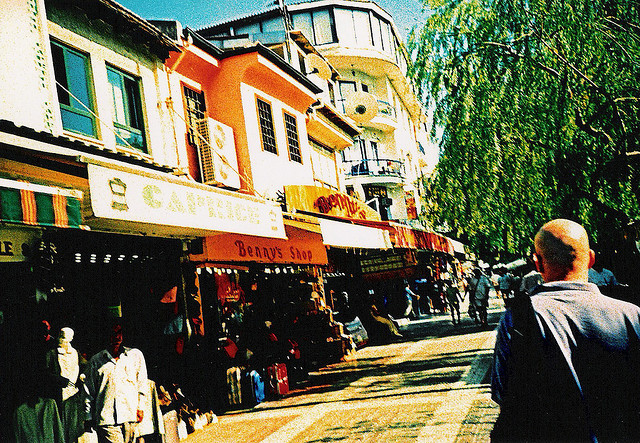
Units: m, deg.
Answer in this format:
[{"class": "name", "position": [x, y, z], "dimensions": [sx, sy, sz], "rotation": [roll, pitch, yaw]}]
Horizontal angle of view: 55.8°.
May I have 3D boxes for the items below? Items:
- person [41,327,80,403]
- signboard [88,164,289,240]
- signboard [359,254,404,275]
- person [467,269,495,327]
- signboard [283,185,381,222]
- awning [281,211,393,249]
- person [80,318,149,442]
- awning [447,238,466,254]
[{"class": "person", "position": [-4.275, 2.318, 9.835], "dimensions": [0.485, 1.151, 0.821], "rotation": [-6, -3, -17]}, {"class": "signboard", "position": [-2.141, -0.248, 10.967], "dimensions": [0.098, 0.671, 5.722], "rotation": [-11, -8, 21]}, {"class": "signboard", "position": [2.369, 1.602, 22.979], "dimensions": [1.647, 0.548, 0.274], "rotation": [-8, -3, 3]}, {"class": "person", "position": [5.698, 2.492, 21.347], "dimensions": [0.823, 2.064, 0.616], "rotation": [-5, 25, 13]}, {"class": "signboard", "position": [0.426, -0.475, 17.605], "dimensions": [0.206, 0.926, 4.596], "rotation": [-24, -19, 35]}, {"class": "awning", "position": [0.745, 0.296, 14.993], "dimensions": [0.561, 0.841, 3.908], "rotation": [-16, -12, 27]}, {"class": "person", "position": [-3.316, 2.610, 9.616], "dimensions": [1.058, 1.977, 0.436], "rotation": [-6, -3, -20]}, {"class": "awning", "position": [4.497, 0.817, 19.808], "dimensions": [0.151, 0.538, 0.564], "rotation": [-19, -22, 35]}]
